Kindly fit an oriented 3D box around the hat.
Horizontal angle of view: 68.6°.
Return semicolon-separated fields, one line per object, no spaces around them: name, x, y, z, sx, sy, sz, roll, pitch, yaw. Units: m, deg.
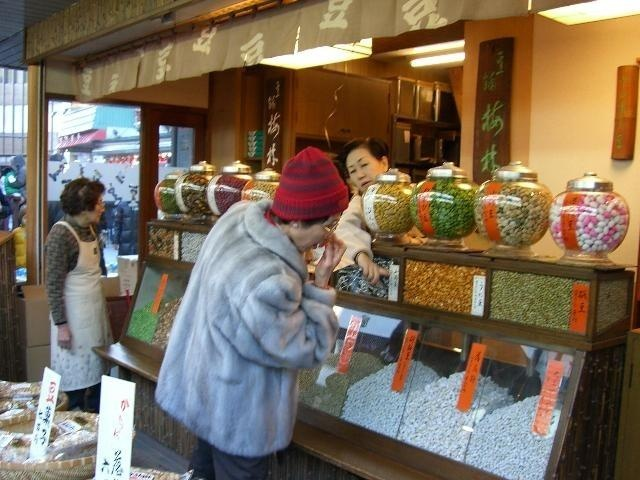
hat;-0.032;-0.195;1.634;0.248;0.215;0.257;3;16;22

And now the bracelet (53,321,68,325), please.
bracelet;-1.867;0.609;3.375;0.039;0.018;0.043;-2;-5;-2

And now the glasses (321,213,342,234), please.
glasses;0.040;-0.059;1.616;0.056;0.018;0.056;-17;9;23

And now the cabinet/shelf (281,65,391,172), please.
cabinet/shelf;0.121;-1.215;5.495;1.438;1.438;0.491;-6;7;-40

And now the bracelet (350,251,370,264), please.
bracelet;0.179;0.078;2.136;0.059;0.026;0.055;-6;8;-23
